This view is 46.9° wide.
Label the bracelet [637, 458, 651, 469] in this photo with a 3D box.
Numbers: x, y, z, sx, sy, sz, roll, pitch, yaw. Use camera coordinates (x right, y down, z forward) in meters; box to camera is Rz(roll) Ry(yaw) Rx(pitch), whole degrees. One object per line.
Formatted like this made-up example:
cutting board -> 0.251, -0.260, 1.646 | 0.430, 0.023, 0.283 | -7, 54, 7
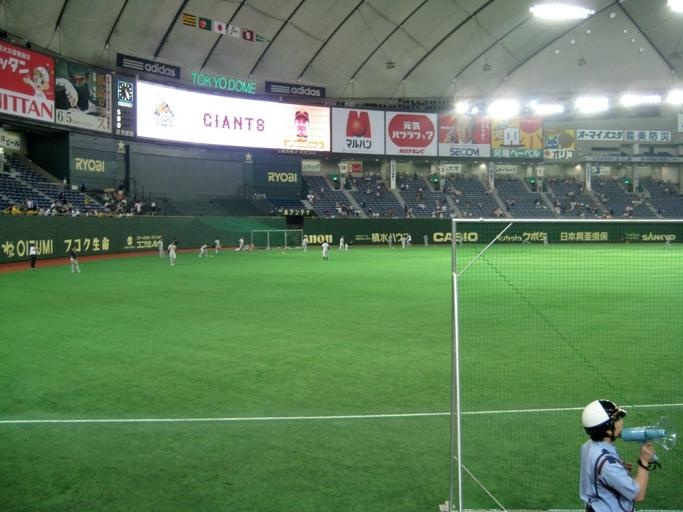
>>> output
bracelet -> 7.788, 5.401, 20.240 | 0.221, 0.108, 0.293 | 16, 25, -30
